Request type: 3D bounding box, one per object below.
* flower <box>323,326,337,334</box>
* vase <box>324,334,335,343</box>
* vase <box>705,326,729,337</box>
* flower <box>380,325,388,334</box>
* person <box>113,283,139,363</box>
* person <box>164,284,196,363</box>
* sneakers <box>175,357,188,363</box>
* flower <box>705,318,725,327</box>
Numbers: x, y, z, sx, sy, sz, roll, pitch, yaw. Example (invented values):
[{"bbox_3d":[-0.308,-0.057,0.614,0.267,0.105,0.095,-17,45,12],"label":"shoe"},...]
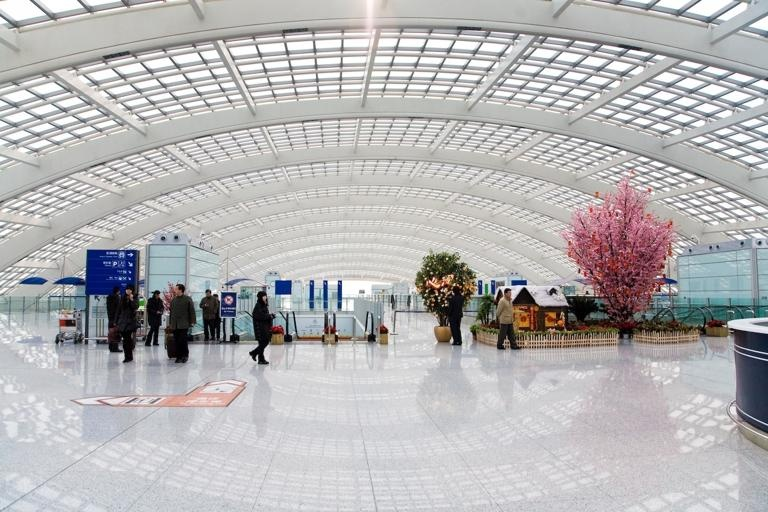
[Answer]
[{"bbox_3d":[-2.502,3.585,21.165,0.838,0.276,0.721,1,-5,-7],"label":"flower"},{"bbox_3d":[-2.398,3.794,20.229,0.596,0.272,0.544,2,-6,-33],"label":"vase"},{"bbox_3d":[16.850,3.837,22.792,0.695,0.400,0.956,3,-4,-32],"label":"vase"},{"bbox_3d":[-0.029,3.208,19.562,0.321,0.348,0.372,-3,-5,2],"label":"flower"},{"bbox_3d":[-8.067,2.163,14.180,0.600,2.387,0.902,-1,-6,-29],"label":"person"},{"bbox_3d":[-6.327,2.129,14.168,0.680,2.447,1.232,-2,-5,-24],"label":"person"},{"bbox_3d":[-6.334,3.300,14.120,0.432,0.213,0.122,0,-2,-11],"label":"sneakers"},{"bbox_3d":[16.966,3.493,23.037,0.671,0.273,0.624,4,-5,-36],"label":"flower"}]
